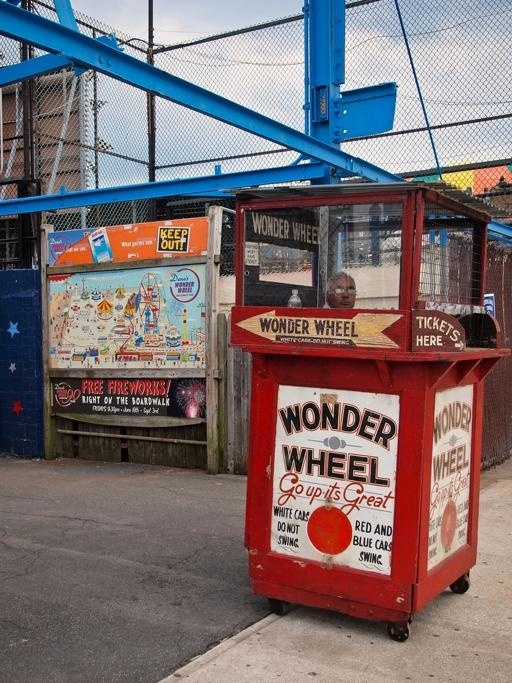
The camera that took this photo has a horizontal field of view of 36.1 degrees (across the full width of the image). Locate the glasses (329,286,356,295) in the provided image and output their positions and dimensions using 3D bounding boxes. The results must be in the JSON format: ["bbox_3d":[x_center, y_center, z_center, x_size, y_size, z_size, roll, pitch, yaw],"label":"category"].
[{"bbox_3d":[0.459,-0.276,4.234,0.027,0.044,0.180,-3,4,-36],"label":"glasses"}]

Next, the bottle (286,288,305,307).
[{"bbox_3d":[0.213,-0.250,4.361,0.093,0.169,0.094,0,2,0],"label":"bottle"}]
